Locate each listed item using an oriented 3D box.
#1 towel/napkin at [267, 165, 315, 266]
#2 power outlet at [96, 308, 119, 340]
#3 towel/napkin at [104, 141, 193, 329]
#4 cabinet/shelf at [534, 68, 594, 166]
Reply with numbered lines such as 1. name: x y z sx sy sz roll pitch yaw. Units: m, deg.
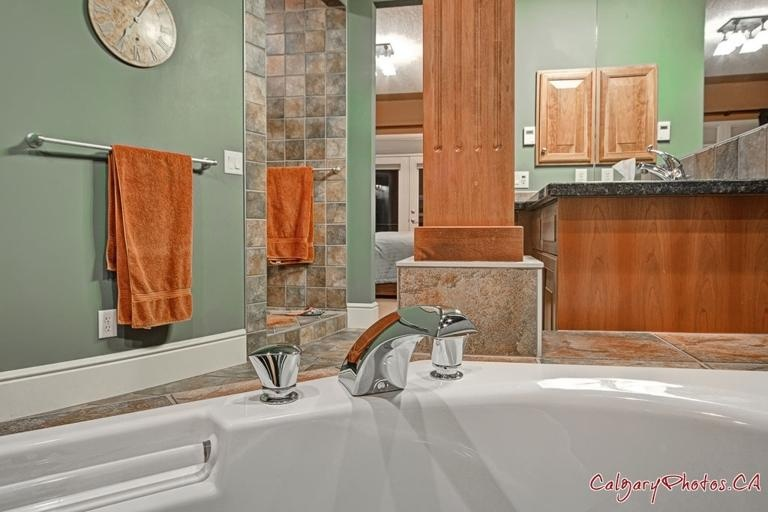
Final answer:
1. towel/napkin: -0.735 -0.319 3.952 0.366 0.708 0.299 -4 14 -11
2. power outlet: -1.333 0.328 2.448 0.092 0.139 0.035 -11 17 -35
3. towel/napkin: -1.117 -0.096 2.494 0.447 0.870 0.227 -10 16 -32
4. cabinet/shelf: 1.357 -1.041 3.866 0.424 0.696 0.149 3 14 15
